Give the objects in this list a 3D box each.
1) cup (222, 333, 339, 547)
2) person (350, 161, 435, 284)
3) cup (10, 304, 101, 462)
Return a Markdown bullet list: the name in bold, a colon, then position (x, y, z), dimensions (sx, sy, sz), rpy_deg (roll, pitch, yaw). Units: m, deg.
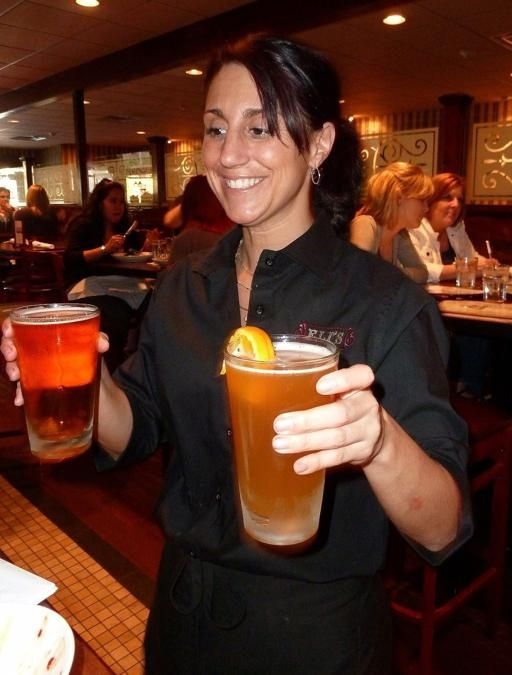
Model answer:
- **cup**: position (0.032, 0.113, 0.541), dimensions (0.110, 0.233, 0.175), rpy_deg (-7, 17, -8)
- **person**: position (0.976, -0.826, 3.900), dimensions (0.692, 0.849, 0.593), rpy_deg (-2, 13, -21)
- **cup**: position (-0.263, 0.062, 0.700), dimensions (0.118, 0.182, 0.116), rpy_deg (-3, 1, 0)
